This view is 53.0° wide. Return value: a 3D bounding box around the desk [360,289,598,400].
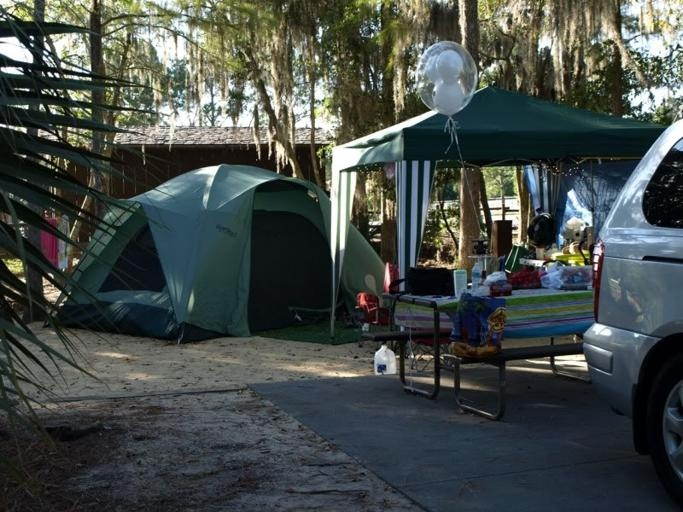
[{"bbox_3d":[1.380,0.592,7.081,1.523,1.424,1.781,-1,0,-22],"label":"desk"}]
